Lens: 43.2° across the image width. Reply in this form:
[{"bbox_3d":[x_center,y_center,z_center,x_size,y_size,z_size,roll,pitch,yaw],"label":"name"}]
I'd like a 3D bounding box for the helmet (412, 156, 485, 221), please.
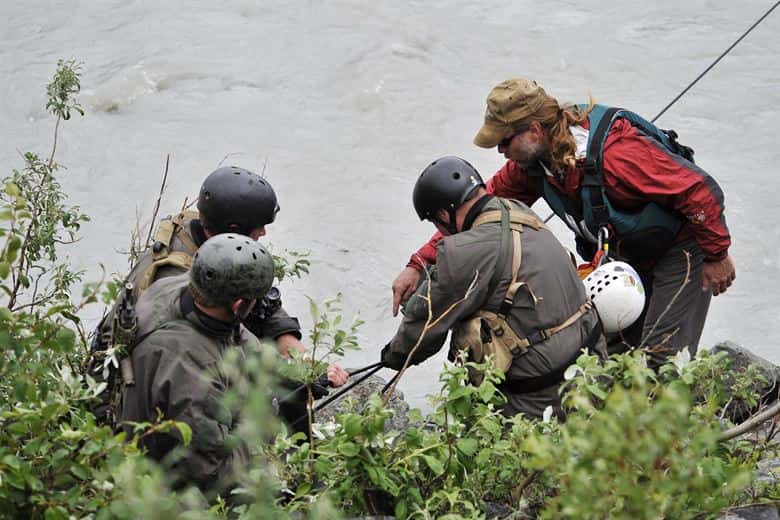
[{"bbox_3d":[0.485,-0.680,9.277,0.514,0.634,0.491,61,20,-1],"label":"helmet"}]

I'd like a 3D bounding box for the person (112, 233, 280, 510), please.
[{"bbox_3d":[-1.616,0.819,8.251,1.220,2.098,0.680,19,15,16],"label":"person"}]
